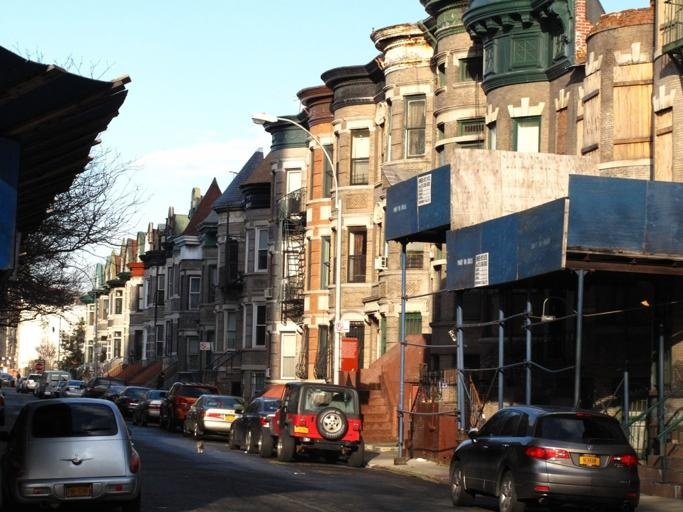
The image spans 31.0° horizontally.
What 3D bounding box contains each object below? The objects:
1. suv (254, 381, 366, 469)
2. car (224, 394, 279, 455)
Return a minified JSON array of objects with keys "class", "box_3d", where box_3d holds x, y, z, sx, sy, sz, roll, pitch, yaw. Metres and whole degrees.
[{"class":"suv","box_3d":[-0.812,4.404,33.163,1.805,1.598,3.115,5,-5,-17]},{"class":"car","box_3d":[-2.520,4.763,35.204,1.037,0.998,2.219,4,-5,-14]}]
